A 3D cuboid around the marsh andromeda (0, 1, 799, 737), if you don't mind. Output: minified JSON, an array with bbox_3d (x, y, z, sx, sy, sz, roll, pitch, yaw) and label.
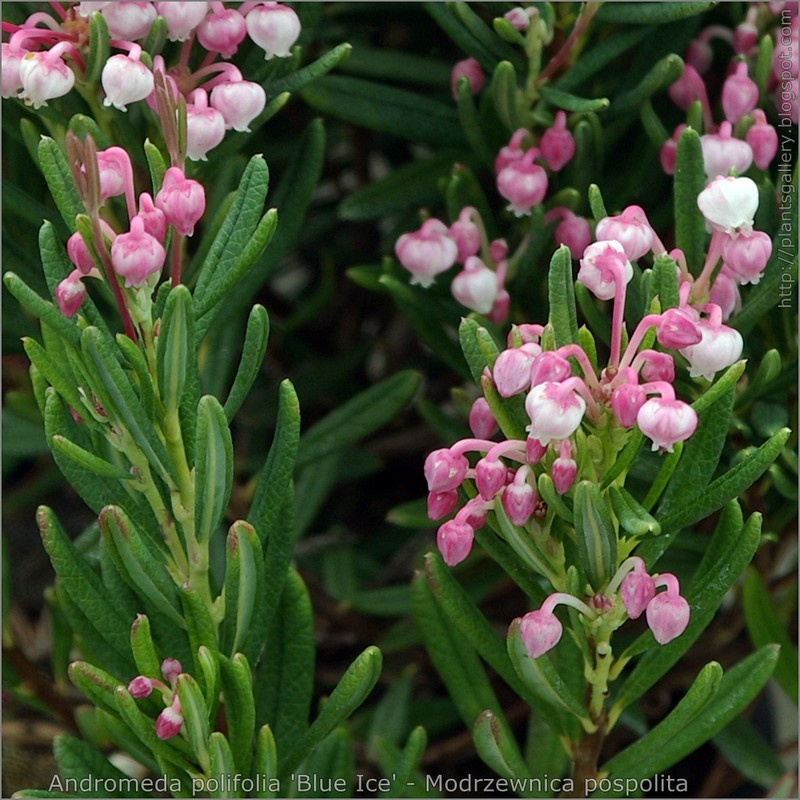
[{"bbox_3d":[-0.014,0.057,0.983,0.568,0.450,0.756,1,62,-15],"label":"marsh andromeda"}]
